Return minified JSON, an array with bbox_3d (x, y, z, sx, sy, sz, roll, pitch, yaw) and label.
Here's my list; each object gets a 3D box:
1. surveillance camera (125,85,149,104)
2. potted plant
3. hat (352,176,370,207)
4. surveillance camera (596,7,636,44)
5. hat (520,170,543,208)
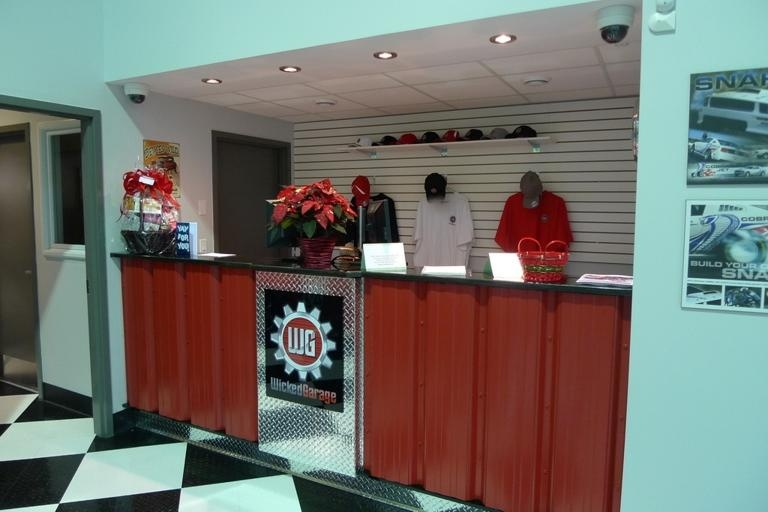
[{"bbox_3d":[-2.368,-1.538,5.288,0.171,0.114,0.161,-1,10,-1],"label":"surveillance camera"},{"bbox_3d":[-0.596,-0.206,4.778,0.794,0.599,0.712,-2,-3,-16],"label":"potted plant"},{"bbox_3d":[-0.297,-0.812,7.020,0.230,0.375,0.156,1,1,30],"label":"hat"},{"bbox_3d":[1.589,-1.603,3.804,0.229,0.185,0.236,3,3,36],"label":"surveillance camera"},{"bbox_3d":[1.624,-0.726,6.105,0.256,0.373,0.188,2,-14,17],"label":"hat"}]
